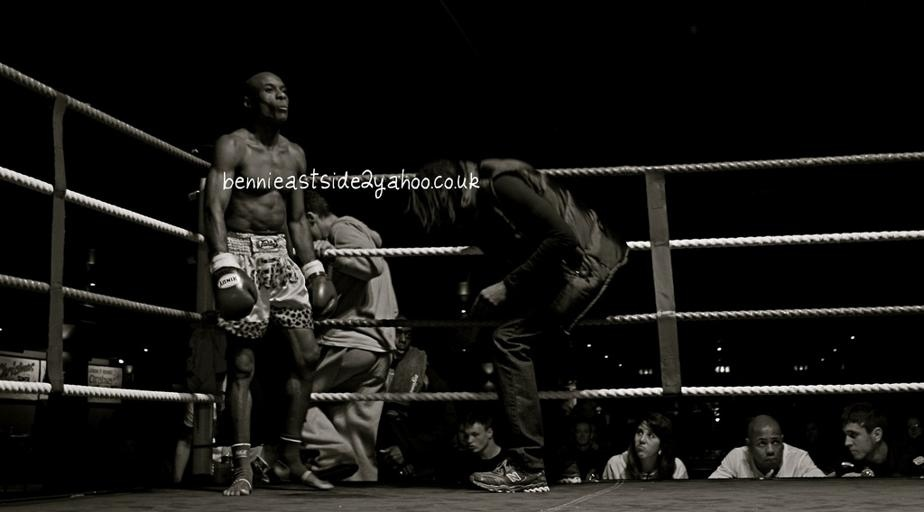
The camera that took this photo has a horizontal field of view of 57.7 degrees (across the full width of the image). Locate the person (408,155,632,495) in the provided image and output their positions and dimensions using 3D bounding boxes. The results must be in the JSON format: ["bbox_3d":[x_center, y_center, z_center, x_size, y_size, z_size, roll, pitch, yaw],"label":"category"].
[{"bbox_3d":[0.520,0.558,7.071,1.709,2.719,0.868,-2,-18,5],"label":"person"}]

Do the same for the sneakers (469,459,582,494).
[{"bbox_3d":[0.440,1.846,7.046,0.703,0.265,0.235,5,-27,-2],"label":"sneakers"}]

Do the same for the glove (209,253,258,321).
[{"bbox_3d":[-1.906,0.252,7.065,0.501,0.488,0.219,-2,-9,-2],"label":"glove"}]

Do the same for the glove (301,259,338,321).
[{"bbox_3d":[-1.301,0.289,7.451,0.185,0.447,0.365,-20,4,22],"label":"glove"}]
